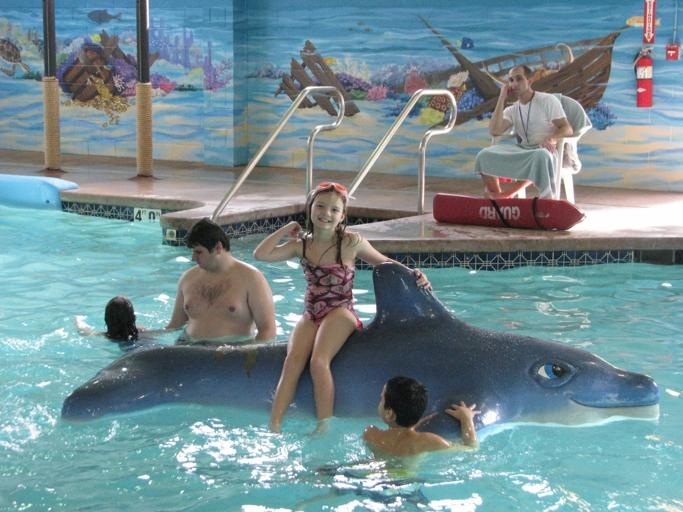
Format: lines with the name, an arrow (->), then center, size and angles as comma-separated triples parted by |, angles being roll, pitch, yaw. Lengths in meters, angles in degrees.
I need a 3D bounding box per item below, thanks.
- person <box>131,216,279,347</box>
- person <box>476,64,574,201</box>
person -> -0.709, 0.227, 5.144 | 1.160, 0.874, 0.676 | 2, 2, 31
person -> 1.829, -1.233, 8.039 | 0.865, 1.278, 0.691 | 7, 13, 32
